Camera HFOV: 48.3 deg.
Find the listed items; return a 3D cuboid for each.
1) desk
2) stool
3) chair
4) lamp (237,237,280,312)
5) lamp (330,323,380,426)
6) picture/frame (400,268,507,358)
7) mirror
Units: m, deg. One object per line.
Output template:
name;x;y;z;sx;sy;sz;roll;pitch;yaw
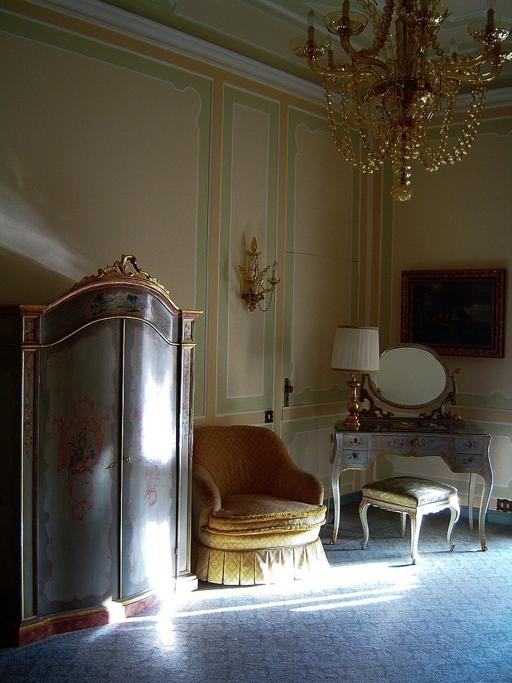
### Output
desk;0.910;0.854;3.467;0.901;0.704;0.422;1;5;5
stool;0.865;0.910;3.219;0.441;0.406;0.448;4;3;34
chair;-0.001;0.801;3.052;0.714;0.724;0.678;4;-11;-24
lamp;0.050;-0.395;3.436;0.146;0.440;0.378;0;-3;31
lamp;0.627;0.220;3.484;0.271;0.595;0.495;0;-2;22
picture/frame;1.379;-0.190;3.915;0.579;0.528;0.043;5;4;38
mirror;0.983;0.278;3.635;0.473;0.407;0.081;1;-7;3
